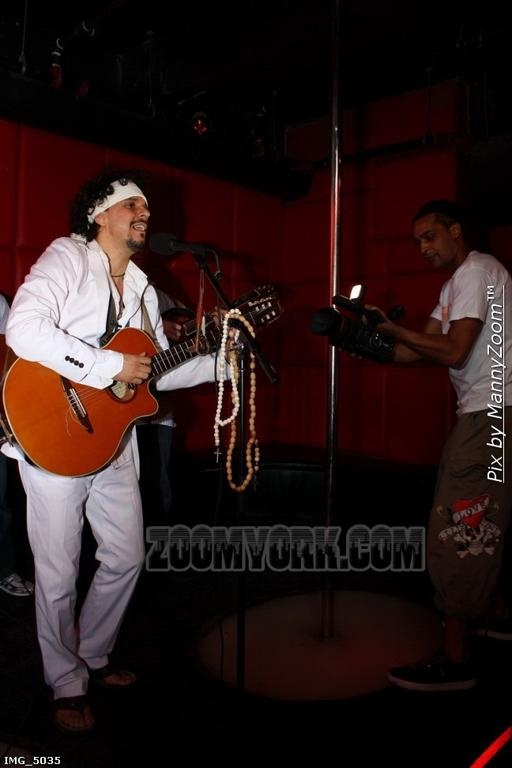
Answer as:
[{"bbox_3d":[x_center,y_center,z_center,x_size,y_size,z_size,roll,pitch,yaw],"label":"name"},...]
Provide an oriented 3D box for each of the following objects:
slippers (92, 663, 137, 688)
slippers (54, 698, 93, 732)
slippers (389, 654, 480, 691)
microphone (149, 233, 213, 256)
[{"bbox_3d":[-0.464,0.955,2.159,0.133,0.045,0.065,2,0,-2],"label":"slippers"},{"bbox_3d":[-0.528,0.964,1.928,0.067,0.044,0.127,8,-13,-29],"label":"slippers"},{"bbox_3d":[0.592,0.946,2.170,0.240,0.086,0.107,2,-13,-5],"label":"slippers"},{"bbox_3d":[-0.222,-0.425,2.003,0.176,0.075,0.250,1,7,3],"label":"microphone"}]
